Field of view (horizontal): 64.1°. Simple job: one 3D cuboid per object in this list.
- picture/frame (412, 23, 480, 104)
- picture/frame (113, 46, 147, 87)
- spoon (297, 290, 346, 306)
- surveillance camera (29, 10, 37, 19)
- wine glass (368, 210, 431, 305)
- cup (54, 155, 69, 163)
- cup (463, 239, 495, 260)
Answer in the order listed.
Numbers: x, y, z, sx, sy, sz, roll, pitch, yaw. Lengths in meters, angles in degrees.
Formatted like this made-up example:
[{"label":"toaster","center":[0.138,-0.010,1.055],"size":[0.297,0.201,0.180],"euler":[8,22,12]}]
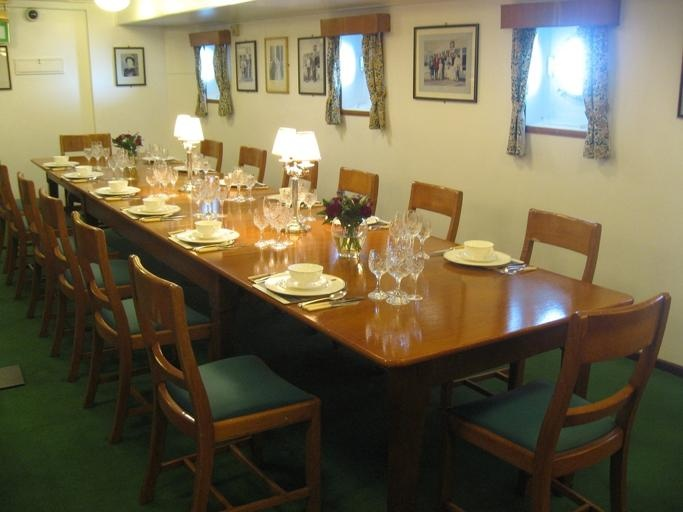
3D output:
[{"label":"picture/frame","center":[1.025,-1.842,5.178],"size":[0.035,0.712,0.718],"euler":[-9,17,-33]},{"label":"picture/frame","center":[-3.616,-3.233,9.260],"size":[0.603,0.832,0.050],"euler":[-6,8,-43]},{"label":"spoon","center":[-0.096,0.191,2.425],"size":[0.155,0.025,0.029],"euler":[-12,22,-40]},{"label":"surveillance camera","center":[-4.752,-3.721,8.426],"size":[0.036,0.134,0.159],"euler":[13,19,42]},{"label":"wine glass","center":[0.313,0.018,2.797],"size":[0.178,0.296,0.790],"euler":[1,7,11]},{"label":"cup","center":[-2.992,-1.026,5.804],"size":[0.128,0.099,0.139],"euler":[0,11,0]},{"label":"cup","center":[0.735,-0.058,2.989],"size":[0.105,0.069,0.128],"euler":[-5,27,-23]}]
